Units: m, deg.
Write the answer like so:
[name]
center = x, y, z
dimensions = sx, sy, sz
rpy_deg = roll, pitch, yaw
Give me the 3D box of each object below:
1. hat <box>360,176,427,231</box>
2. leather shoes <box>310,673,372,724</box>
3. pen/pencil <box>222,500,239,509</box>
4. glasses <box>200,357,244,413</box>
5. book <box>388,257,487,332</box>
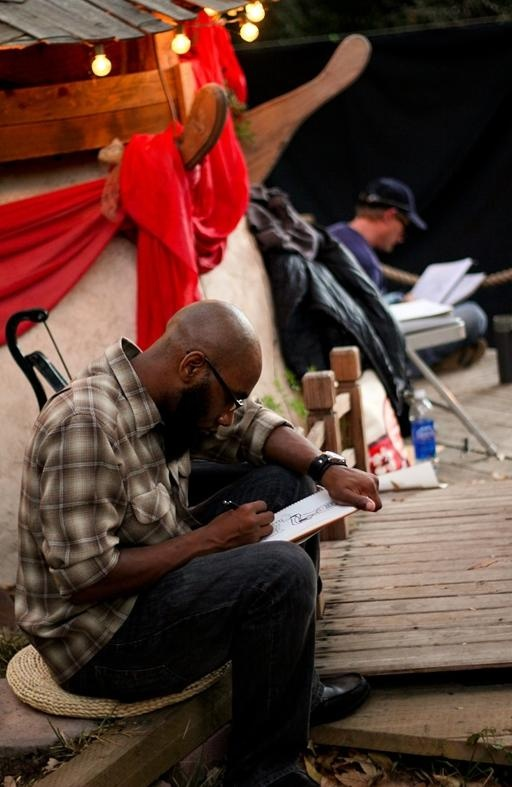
[hat]
center = 1.047, -1.532, 5.683
dimensions = 0.607, 0.272, 0.356
rpy_deg = 17, 11, -12
[leather shoes]
center = 0.261, 0.882, 2.133
dimensions = 0.207, 0.082, 0.089
rpy_deg = -23, 31, -28
[pen/pencil]
center = -0.075, 0.329, 2.114
dimensions = 0.025, 0.023, 0.101
rpy_deg = -19, 4, -7
[glasses]
center = -0.123, -0.017, 1.828
dimensions = 0.036, 0.118, 0.121
rpy_deg = -36, -16, 11
[book]
center = 1.434, -0.735, 5.531
dimensions = 0.649, 0.246, 0.700
rpy_deg = 20, 55, 39
